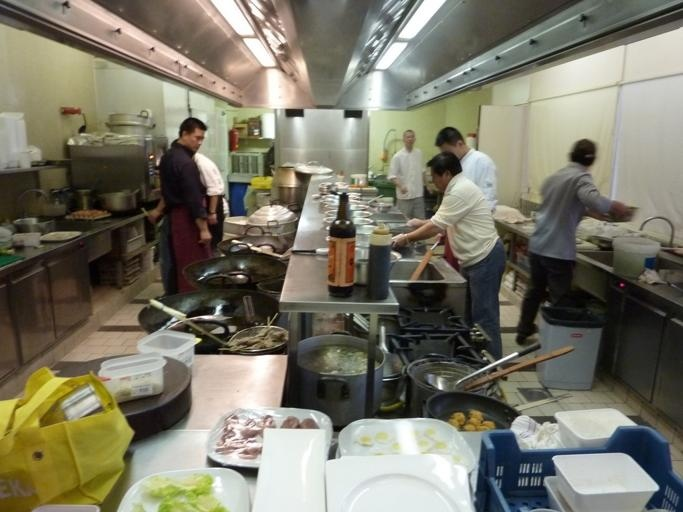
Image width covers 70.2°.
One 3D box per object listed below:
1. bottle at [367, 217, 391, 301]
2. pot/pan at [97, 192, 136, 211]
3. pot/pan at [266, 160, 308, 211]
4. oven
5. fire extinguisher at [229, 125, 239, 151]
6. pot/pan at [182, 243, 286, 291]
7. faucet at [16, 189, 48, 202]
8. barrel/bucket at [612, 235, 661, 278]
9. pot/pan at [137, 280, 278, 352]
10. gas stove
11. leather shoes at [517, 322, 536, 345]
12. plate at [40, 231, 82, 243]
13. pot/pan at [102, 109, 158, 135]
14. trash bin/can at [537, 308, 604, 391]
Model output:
[{"bbox_3d":[0.133,0.025,1.706,0.081,0.260,0.093,2,17,2],"label":"bottle"},{"bbox_3d":[-2.473,-0.603,5.383,0.328,0.122,0.252,9,14,44],"label":"pot/pan"},{"bbox_3d":[-0.660,-0.845,5.985,0.644,0.543,0.590,1,5,-2],"label":"pot/pan"},{"bbox_3d":[-2.630,-1.035,5.876,0.953,0.691,1.029,1,14,-2],"label":"oven"},{"bbox_3d":[-2.337,-2.519,10.487,0.218,0.522,0.313,-1,16,-8],"label":"fire extinguisher"},{"bbox_3d":[-0.671,0.115,2.991,0.539,0.085,0.493,4,17,3],"label":"pot/pan"},{"bbox_3d":[-3.071,-0.628,4.810,0.215,0.061,0.185,-15,20,-30],"label":"faucet"},{"bbox_3d":[2.255,0.001,3.811,0.377,0.250,0.357,-1,6,0],"label":"barrel/bucket"},{"bbox_3d":[-0.631,0.301,2.408,0.737,0.121,0.661,3,12,7],"label":"pot/pan"},{"bbox_3d":[0.415,0.441,2.393,0.366,0.151,0.586,2,19,30],"label":"gas stove"},{"bbox_3d":[1.742,0.715,4.578,0.118,0.110,0.291,6,28,26],"label":"leather shoes"},{"bbox_3d":[-2.476,-0.160,4.257,0.278,0.044,0.325,-2,14,-11],"label":"plate"},{"bbox_3d":[-2.508,-1.572,5.770,0.548,0.189,0.542,1,11,-3],"label":"pot/pan"},{"bbox_3d":[1.748,0.795,4.056,0.595,0.557,0.613,4,-5,45],"label":"trash bin/can"}]
